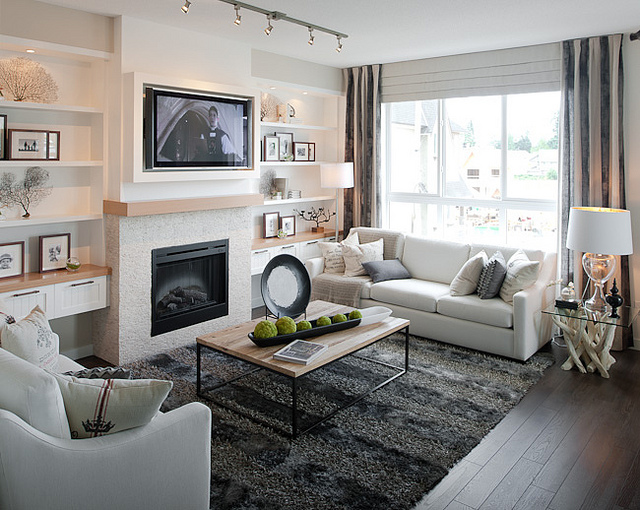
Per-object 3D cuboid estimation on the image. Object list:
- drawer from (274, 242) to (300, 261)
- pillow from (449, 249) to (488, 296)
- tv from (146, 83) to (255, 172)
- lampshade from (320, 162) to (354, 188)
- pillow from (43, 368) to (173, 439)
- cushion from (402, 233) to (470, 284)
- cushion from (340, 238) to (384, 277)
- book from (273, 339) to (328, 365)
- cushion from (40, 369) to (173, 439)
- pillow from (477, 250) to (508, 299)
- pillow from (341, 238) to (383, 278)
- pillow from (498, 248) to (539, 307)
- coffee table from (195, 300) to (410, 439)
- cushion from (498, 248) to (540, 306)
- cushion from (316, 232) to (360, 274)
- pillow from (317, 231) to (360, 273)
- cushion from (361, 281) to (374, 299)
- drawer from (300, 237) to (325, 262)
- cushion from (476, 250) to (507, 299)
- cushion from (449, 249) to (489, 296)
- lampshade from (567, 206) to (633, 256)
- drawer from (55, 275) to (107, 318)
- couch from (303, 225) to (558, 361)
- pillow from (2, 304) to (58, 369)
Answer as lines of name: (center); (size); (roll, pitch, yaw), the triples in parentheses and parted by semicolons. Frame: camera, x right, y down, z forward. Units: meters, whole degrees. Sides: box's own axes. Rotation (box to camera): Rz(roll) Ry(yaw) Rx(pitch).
drawer: (-0.388, -0.049, 5.506); (0.393, 0.191, 0.055); (-8, 14, -39)
pillow: (1.585, 0.185, 4.717); (0.336, 0.419, 0.658); (0, 8, 26)
tv: (-1.121, -1.174, 4.245); (0.055, 0.697, 1.179); (18, 20, 37)
lampshade: (0.256, -0.995, 5.799); (0.328, 0.564, 0.341); (1, 2, 20)
pillow: (-0.899, 0.632, 1.879); (0.297, 0.262, 0.113); (4, 4, -9)
cushion: (1.349, 0.047, 5.208); (0.687, 0.493, 0.254); (10, 14, -9)
cushion: (0.501, 0.043, 5.223); (0.375, 0.344, 0.146); (-8, -7, -16)
book: (-0.125, 0.657, 3.045); (0.269, 0.050, 0.311); (8, 13, 30)
cushion: (-0.901, 0.631, 1.874); (0.295, 0.283, 0.115); (4, 7, -11)
pillow: (1.745, 0.203, 4.514); (0.242, 0.410, 0.502); (4, 14, 24)
pillow: (0.527, 0.042, 5.327); (0.627, 0.441, 0.220); (-4, -5, -24)
pillow: (1.854, 0.288, 4.395); (0.262, 0.457, 0.459); (26, -17, -19)
coffee table: (-0.087, 0.787, 3.596); (1.018, 0.514, 1.544); (11, 15, 42)
cushion: (1.933, 0.211, 4.409); (0.261, 0.472, 0.523); (8, 18, 5)
cushion: (0.239, -0.033, 5.393); (0.552, 0.527, 0.205); (-10, 18, 23)
pillow: (0.230, -0.027, 5.416); (0.436, 0.442, 0.135); (-6, -12, 8)
cushion: (0.518, 0.393, 4.916); (0.143, 0.132, 0.146); (1, 1, 39)
drawer: (-0.103, -0.082, 5.762); (0.239, 0.283, 0.432); (0, 2, 40)
cushion: (1.775, 0.157, 4.528); (0.262, 0.444, 0.545); (5, 21, 30)
cushion: (1.597, 0.171, 4.704); (0.337, 0.408, 0.638); (0, 11, 28)
lampshade: (2.430, -0.200, 3.858); (0.434, 0.332, 0.453); (2, 4, 17)
drawer: (-2.113, 0.310, 3.894); (0.245, 0.326, 0.450); (24, 23, 37)
couch: (1.134, 0.316, 5.080); (2.676, 1.072, 1.019); (8, 11, 44)
pillow: (-1.582, 0.438, 2.425); (0.115, 0.294, 0.310); (-17, 7, 1)
